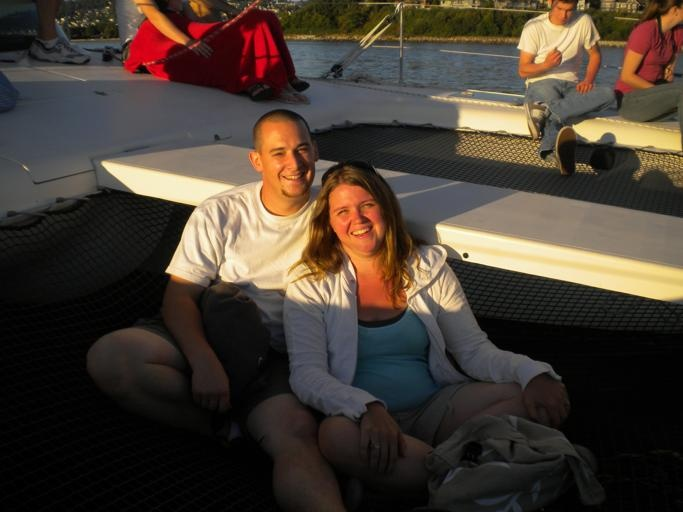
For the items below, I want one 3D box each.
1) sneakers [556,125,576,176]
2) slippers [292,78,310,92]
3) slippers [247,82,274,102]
[{"bbox_3d":[1.326,-0.662,3.210,0.119,0.322,0.121,-4,8,-13],"label":"sneakers"},{"bbox_3d":[-0.309,-1.419,4.186,0.081,0.073,0.195,27,14,37],"label":"slippers"},{"bbox_3d":[-0.535,-1.201,3.754,0.199,0.094,0.140,-8,61,-40],"label":"slippers"}]
